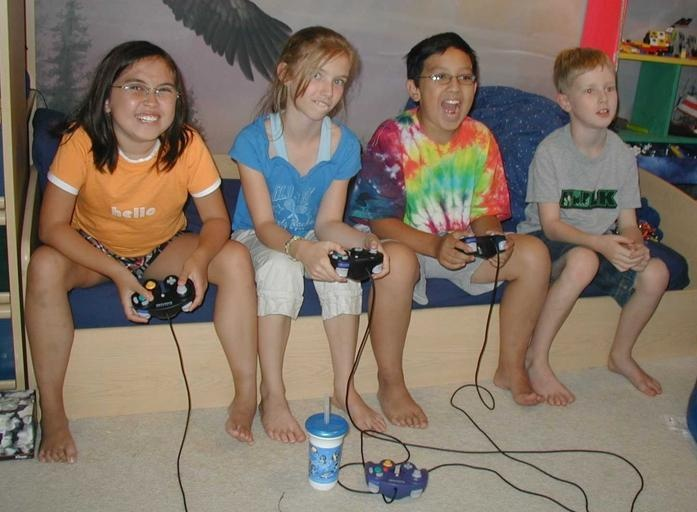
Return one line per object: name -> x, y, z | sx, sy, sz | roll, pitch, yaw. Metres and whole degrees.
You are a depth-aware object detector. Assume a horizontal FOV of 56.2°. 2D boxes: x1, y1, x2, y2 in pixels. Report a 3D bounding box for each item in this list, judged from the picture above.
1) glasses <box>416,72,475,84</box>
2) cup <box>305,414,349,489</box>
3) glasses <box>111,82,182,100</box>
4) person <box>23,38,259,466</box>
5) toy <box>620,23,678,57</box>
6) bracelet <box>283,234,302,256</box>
glasses -> 0.322, -0.595, 2.163 | 0.187, 0.041, 0.055 | 3, 24, 2
cup -> -0.071, 0.546, 1.797 | 0.117, 0.177, 0.121 | 5, 10, -1
glasses -> -0.594, -0.488, 1.916 | 0.191, 0.054, 0.060 | -7, 26, -19
person -> -0.604, -0.038, 1.896 | 0.653, 1.055, 0.539 | -2, 23, -10
toy -> 1.606, -1.146, 3.488 | 0.298, 0.149, 0.175 | -3, 16, -12
bracelet -> -0.168, -0.032, 1.949 | 0.037, 0.054, 0.046 | -18, 31, -38
